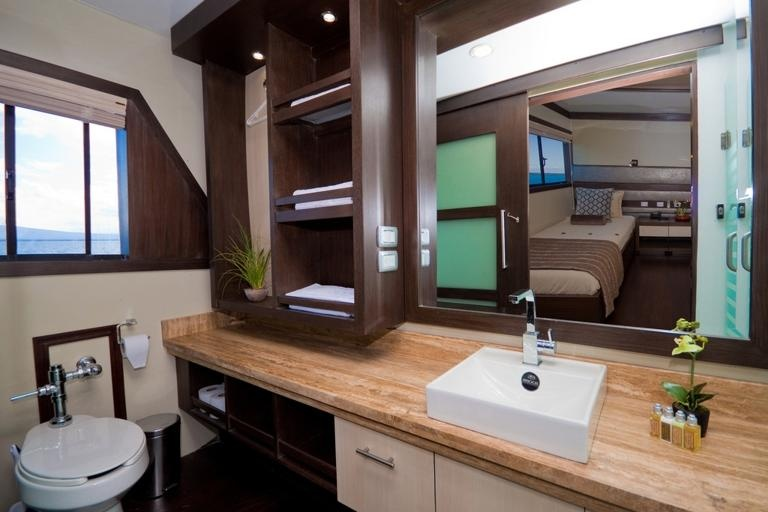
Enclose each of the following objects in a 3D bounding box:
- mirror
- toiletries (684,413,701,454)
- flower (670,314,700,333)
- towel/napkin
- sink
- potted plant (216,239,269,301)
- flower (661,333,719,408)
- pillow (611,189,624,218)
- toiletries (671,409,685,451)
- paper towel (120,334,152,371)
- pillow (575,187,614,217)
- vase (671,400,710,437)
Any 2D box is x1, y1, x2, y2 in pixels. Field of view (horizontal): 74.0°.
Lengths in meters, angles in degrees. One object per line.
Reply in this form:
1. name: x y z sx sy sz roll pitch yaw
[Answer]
1. mirror: 1.021 -0.364 2.434 1.803 1.893 0.052 1 3 33
2. toiletries: 1.237 0.706 2.041 0.066 0.142 0.047 -1 7 21
3. flower: 1.333 0.307 2.245 0.085 0.041 0.087 -6 5 -18
4. towel/napkin: -0.344 -0.293 2.812 0.529 1.223 0.281 2 8 43
5. sink: 0.591 0.631 2.236 0.704 0.328 0.434 -1 7 24
6. potted plant: -0.924 0.103 3.403 0.306 0.431 0.439 -5 3 -18
7. flower: 1.317 0.494 2.198 0.175 0.324 0.297 1 7 34
8. pillow: 1.109 -0.244 2.425 0.030 0.106 0.102 -2 13 -17
9. toiletries: 1.186 0.697 2.051 0.045 0.141 0.031 1 7 32
10. paper towel: -1.537 0.593 3.138 0.080 0.235 0.227 7 8 42
11. pillow: 1.025 -0.259 2.457 0.132 0.138 0.050 6 4 24
12. vase: 1.284 0.660 2.134 0.114 0.122 0.146 5 10 32
